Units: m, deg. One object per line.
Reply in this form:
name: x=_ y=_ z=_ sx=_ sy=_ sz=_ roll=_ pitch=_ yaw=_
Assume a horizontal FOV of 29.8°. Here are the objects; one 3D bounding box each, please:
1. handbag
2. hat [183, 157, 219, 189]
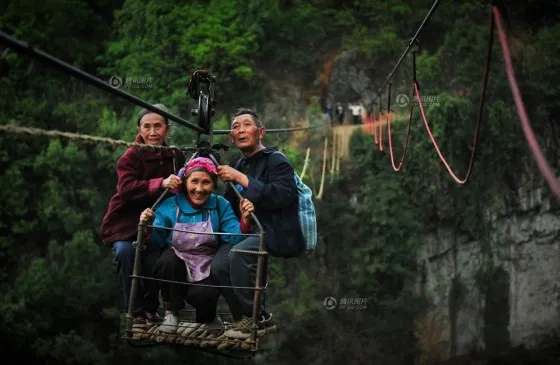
handbag: x=0.479 y=0.641 z=25.690 sx=0.684 sy=2.024 sz=1.440 roll=-8 pitch=-7 yaw=9
hat: x=-1.907 y=-0.171 z=25.165 sx=0.597 sy=0.662 sz=0.816 roll=8 pitch=-30 yaw=-17
